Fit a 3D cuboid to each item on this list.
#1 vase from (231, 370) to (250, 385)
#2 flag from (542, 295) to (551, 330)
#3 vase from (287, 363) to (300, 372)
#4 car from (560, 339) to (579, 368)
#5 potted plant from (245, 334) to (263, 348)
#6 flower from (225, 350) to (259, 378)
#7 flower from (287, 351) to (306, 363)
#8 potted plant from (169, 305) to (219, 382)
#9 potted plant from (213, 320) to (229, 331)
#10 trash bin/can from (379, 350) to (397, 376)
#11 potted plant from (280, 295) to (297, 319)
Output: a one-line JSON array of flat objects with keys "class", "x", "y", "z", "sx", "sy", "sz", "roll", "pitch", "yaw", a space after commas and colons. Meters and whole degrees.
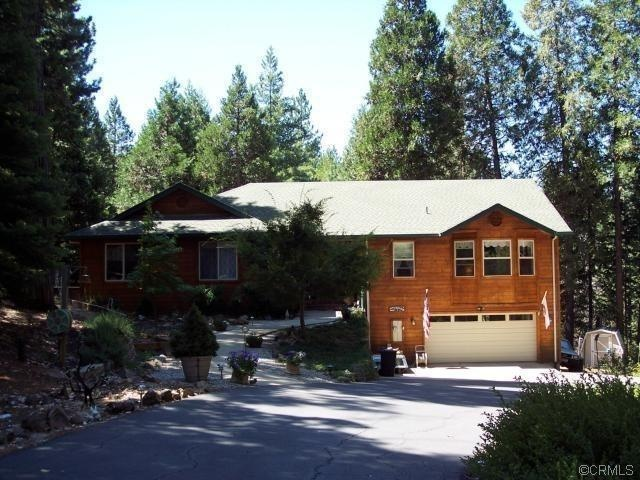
[{"class": "vase", "x": -2.685, "y": 4.586, "z": 22.005, "sx": 0.543, "sy": 0.498, "sz": 0.425, "roll": 4, "pitch": -12, "yaw": 2}, {"class": "flag", "x": 11.992, "y": 3.696, "z": 34.971, "sx": 0.479, "sy": 1.977, "sz": 0.823, "roll": -3, "pitch": -7, "yaw": 27}, {"class": "vase", "x": -0.987, "y": 4.798, "z": 24.671, "sx": 0.410, "sy": 0.337, "sz": 0.254, "roll": 0, "pitch": -7, "yaw": 11}, {"class": "car", "x": 13.505, "y": 6.244, "z": 35.710, "sx": 0.964, "sy": 1.520, "sz": 2.274, "roll": -2, "pitch": -8, "yaw": 20}, {"class": "potted plant", "x": -2.870, "y": 4.324, "z": 28.317, "sx": 0.731, "sy": 0.558, "sz": 0.725, "roll": 1, "pitch": -8, "yaw": -7}, {"class": "flower", "x": -2.671, "y": 4.148, "z": 22.344, "sx": 0.901, "sy": 0.871, "sz": 1.036, "roll": -1, "pitch": -4, "yaw": 23}, {"class": "flower", "x": -0.962, "y": 4.784, "z": 26.885, "sx": 0.763, "sy": 0.475, "sz": 2.337, "roll": 1, "pitch": -9, "yaw": -2}, {"class": "potted plant", "x": -4.226, "y": 3.604, "z": 22.553, "sx": 1.937, "sy": 3.291, "sz": 2.045, "roll": 1, "pitch": -10, "yaw": -8}, {"class": "potted plant", "x": -4.731, "y": 4.021, "z": 31.252, "sx": 0.429, "sy": 0.455, "sz": 0.466, "roll": 1, "pitch": -10, "yaw": -7}, {"class": "trash bin/can", "x": 2.944, "y": 5.371, "z": 28.873, "sx": 0.720, "sy": 1.169, "sz": 0.721, "roll": 0, "pitch": -7, "yaw": 8}, {"class": "potted plant", "x": -1.606, "y": 3.288, "z": 32.461, "sx": 1.127, "sy": 1.506, "sz": 1.222, "roll": 0, "pitch": -9, "yaw": -3}]
